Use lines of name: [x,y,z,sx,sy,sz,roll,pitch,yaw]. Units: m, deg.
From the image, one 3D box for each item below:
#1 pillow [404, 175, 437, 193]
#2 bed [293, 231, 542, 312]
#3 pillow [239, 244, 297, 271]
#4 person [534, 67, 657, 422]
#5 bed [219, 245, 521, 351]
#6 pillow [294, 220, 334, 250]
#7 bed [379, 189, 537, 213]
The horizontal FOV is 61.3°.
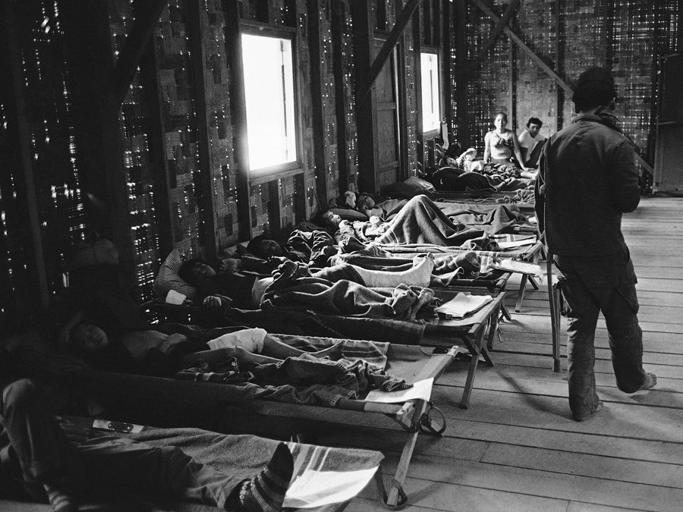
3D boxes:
pillow: [1.199,-1.105,8.767,0.326,0.120,0.363,17,0,30]
bed: [0.513,0.042,5.196,1.696,0.517,1.022,2,12,25]
pillow: [-0.731,0.041,5.117,0.326,0.122,0.285,6,11,22]
person: [1.510,-0.077,3.504,0.595,2.100,0.452,-3,10,14]
bed: [0.128,0.382,4.173,1.535,0.432,0.910,3,15,18]
pillow: [-0.274,-0.223,6.040,0.351,0.132,0.299,11,14,13]
bed: [1.554,-0.739,7.679,1.209,0.317,0.753,2,11,22]
